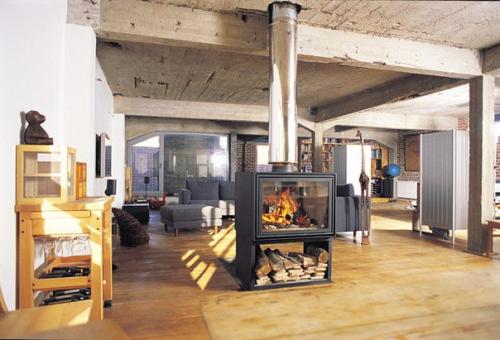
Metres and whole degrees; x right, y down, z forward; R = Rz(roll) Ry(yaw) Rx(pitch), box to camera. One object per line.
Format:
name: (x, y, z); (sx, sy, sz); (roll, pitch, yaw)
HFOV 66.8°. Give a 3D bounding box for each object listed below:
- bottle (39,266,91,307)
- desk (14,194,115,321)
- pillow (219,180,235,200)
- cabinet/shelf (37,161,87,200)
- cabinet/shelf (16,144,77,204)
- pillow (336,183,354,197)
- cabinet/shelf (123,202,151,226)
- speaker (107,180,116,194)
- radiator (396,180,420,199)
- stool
bottle: (-1.678, 1.069, 3.501); (0.453, 0.131, 0.467); (1, -2, 0)
desk: (-1.990, 1.047, 3.617); (0.672, 1.079, 1.400); (6, -27, -42)
pillow: (-0.546, 0.471, 8.698); (0.428, 0.311, 0.154); (-4, -29, -13)
cabinet/shelf: (-1.803, 0.112, 3.673); (0.087, 0.300, 0.338); (-3, -26, -2)
cabinet/shelf: (-1.945, 0.049, 3.351); (0.479, 0.590, 0.515); (2, -4, -35)
pillow: (1.707, 0.368, 6.864); (0.259, 0.219, 0.334); (-2, -1, -18)
cabinet/shelf: (-2.267, 0.896, 7.598); (0.366, 0.442, 0.509); (2, 6, 21)
speaker: (-2.143, 0.271, 5.842); (0.110, 0.246, 0.132); (-1, 6, -12)
radiator: (5.180, 0.641, 12.426); (0.069, 0.525, 0.773); (5, -5, -16)
stool: (-1.031, 1.043, 7.118); (0.940, 0.439, 0.919); (-2, -19, -10)
